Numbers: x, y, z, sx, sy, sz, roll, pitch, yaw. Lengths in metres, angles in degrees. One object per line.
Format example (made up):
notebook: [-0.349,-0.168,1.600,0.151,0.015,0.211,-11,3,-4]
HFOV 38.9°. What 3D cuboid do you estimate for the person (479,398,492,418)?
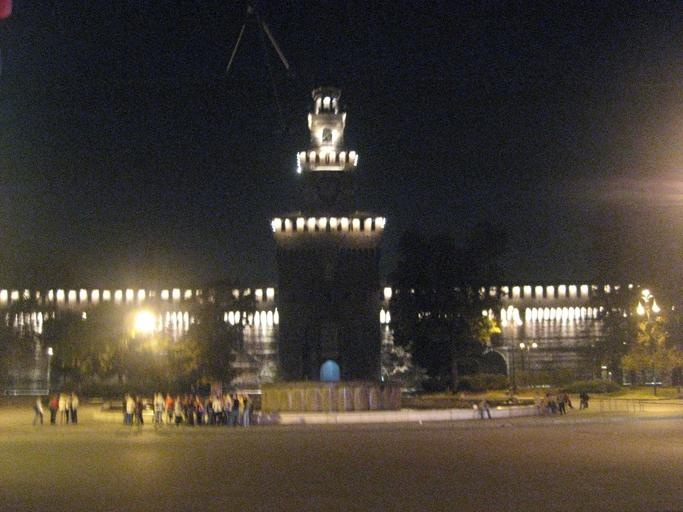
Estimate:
person: [7.427,7.970,50.087,0.574,1.041,1.095,-3,-13,9]
